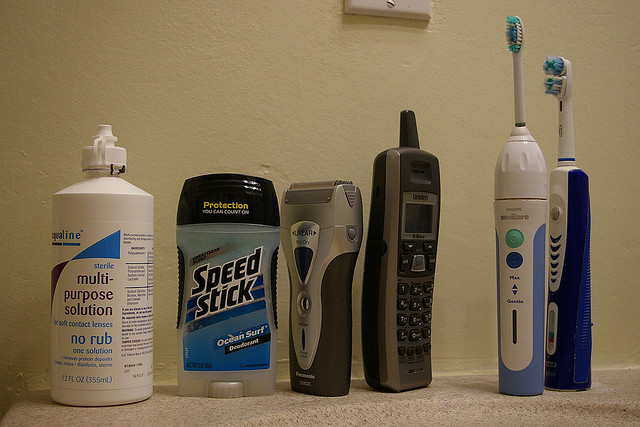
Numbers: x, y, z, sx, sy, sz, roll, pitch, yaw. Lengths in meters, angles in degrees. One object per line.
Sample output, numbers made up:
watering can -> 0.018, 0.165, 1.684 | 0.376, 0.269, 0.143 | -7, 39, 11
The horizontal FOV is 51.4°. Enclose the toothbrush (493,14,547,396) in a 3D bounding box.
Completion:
toothbrush -> 0.257, 0.028, 0.903 | 0.063, 0.413, 0.080 | 2, 0, 8

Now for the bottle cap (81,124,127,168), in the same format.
bottle cap -> -0.285, -0.089, 0.871 | 0.057, 0.055, 0.075 | 1, 4, 9

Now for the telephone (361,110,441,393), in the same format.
telephone -> 0.114, 0.051, 0.939 | 0.113, 0.391, 0.081 | -2, 2, -43

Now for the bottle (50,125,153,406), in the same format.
bottle -> -0.287, 0.066, 0.889 | 0.129, 0.357, 0.116 | -1, -3, -11

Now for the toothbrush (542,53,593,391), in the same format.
toothbrush -> 0.360, -0.004, 0.973 | 0.068, 0.501, 0.122 | -3, -3, 23
